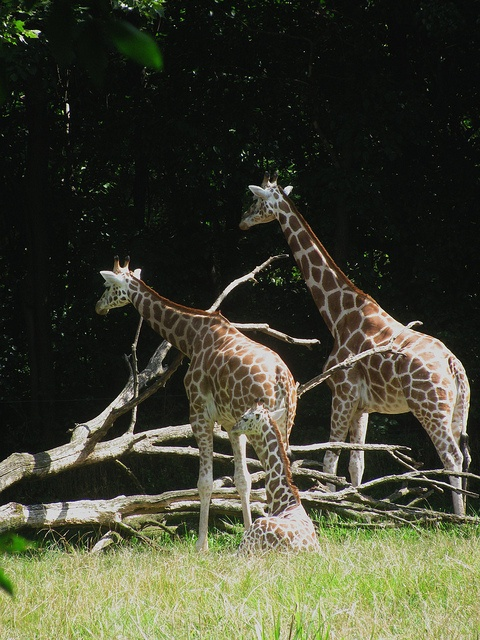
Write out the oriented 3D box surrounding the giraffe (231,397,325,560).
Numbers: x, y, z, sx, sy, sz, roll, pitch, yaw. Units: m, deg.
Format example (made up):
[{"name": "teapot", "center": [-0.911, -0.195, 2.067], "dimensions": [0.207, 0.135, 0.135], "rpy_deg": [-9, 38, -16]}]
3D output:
[{"name": "giraffe", "center": [0.192, 0.925, 5.231], "dimensions": [0.437, 0.844, 0.630], "rpy_deg": [-2, -3, -21]}]
